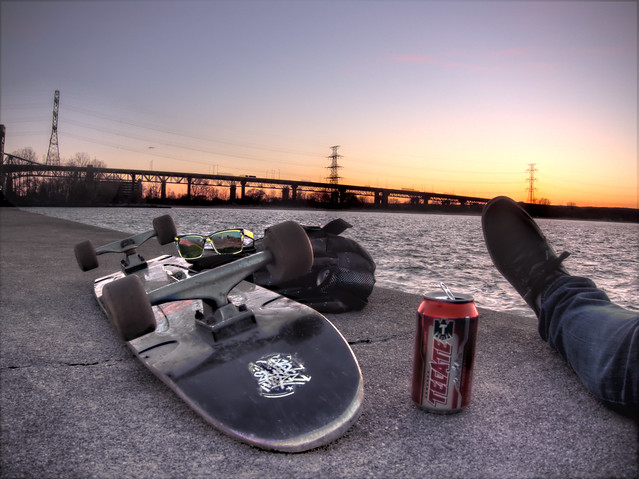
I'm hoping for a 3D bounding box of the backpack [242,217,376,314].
[{"bbox_3d":[-0.054,0.244,3.438,0.923,0.374,0.629,8,43,-8],"label":"backpack"}]

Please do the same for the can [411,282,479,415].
[{"bbox_3d":[0.571,0.496,2.128,0.261,0.558,0.259,1,9,0],"label":"can"}]
